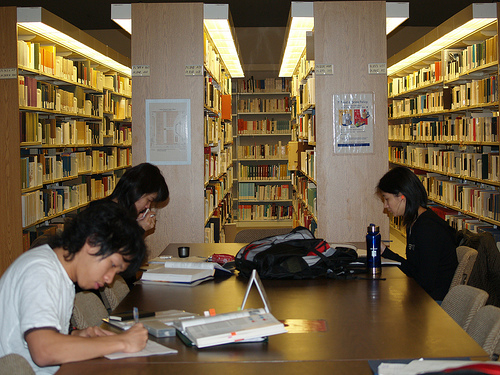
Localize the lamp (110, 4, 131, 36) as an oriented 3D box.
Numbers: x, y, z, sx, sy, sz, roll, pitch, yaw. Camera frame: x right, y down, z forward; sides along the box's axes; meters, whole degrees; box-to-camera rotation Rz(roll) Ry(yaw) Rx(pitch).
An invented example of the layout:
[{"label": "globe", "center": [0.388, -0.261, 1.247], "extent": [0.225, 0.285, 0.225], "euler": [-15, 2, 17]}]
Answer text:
[{"label": "lamp", "center": [-1.364, -1.778, 4.316], "extent": [0.191, 0.337, 0.470], "euler": [-2, 8, -18]}]

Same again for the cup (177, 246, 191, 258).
[{"label": "cup", "center": [-0.465, 0.444, 2.861], "extent": [0.072, 0.067, 0.086], "euler": [1, 5, 16]}]

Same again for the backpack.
[{"label": "backpack", "center": [0.272, 0.422, 2.514], "extent": [0.442, 0.164, 0.378], "euler": [-4, 0, -8]}]

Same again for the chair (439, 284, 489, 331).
[{"label": "chair", "center": [1.066, 0.602, 2.041], "extent": [0.146, 0.208, 0.147], "euler": [20, 1, -18]}]

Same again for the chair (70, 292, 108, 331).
[{"label": "chair", "center": [-0.853, 0.611, 2.123], "extent": [0.176, 0.230, 0.168], "euler": [-4, -4, 33]}]

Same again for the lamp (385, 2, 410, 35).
[{"label": "lamp", "center": [1.544, -1.847, 4.296], "extent": [0.214, 0.271, 0.465], "euler": [3, 8, 18]}]
